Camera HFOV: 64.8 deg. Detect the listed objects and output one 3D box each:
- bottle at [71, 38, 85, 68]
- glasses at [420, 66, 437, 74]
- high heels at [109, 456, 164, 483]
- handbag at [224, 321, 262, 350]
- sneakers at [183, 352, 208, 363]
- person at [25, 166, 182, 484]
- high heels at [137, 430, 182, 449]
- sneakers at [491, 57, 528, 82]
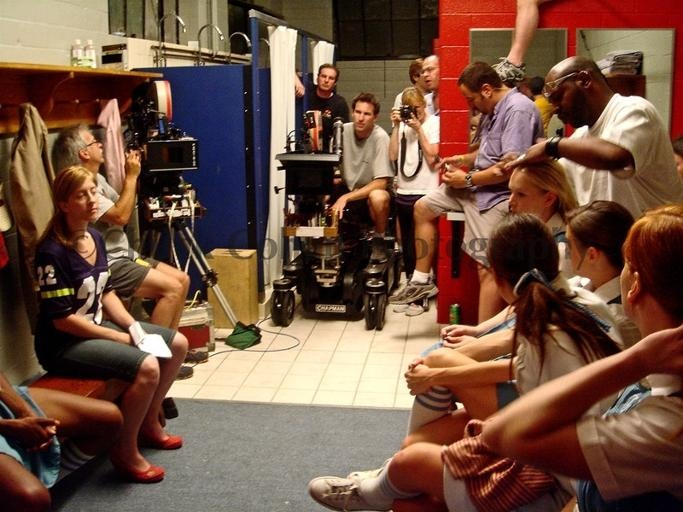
[{"bbox_3d":[-2.306,-1.783,4.693,0.124,0.252,0.336,-7,15,-23],"label":"bottle"},{"bbox_3d":[1.005,-2.125,6.151,0.090,0.052,0.123,0,4,23],"label":"glasses"},{"bbox_3d":[-1.160,1.211,3.058,0.299,0.118,0.117,0,2,4],"label":"high heels"},{"bbox_3d":[-0.882,0.714,4.865,0.290,0.149,0.326,5,15,22],"label":"handbag"},{"bbox_3d":[-1.214,0.852,4.516,0.139,0.047,0.086,1,8,-17],"label":"sneakers"},{"bbox_3d":[-1.331,0.378,3.188,0.876,1.667,0.742,8,9,18],"label":"person"},{"bbox_3d":[-1.097,1.137,3.315,0.281,0.093,0.104,2,2,1],"label":"high heels"},{"bbox_3d":[1.345,-1.485,4.312,0.474,0.203,0.207,-13,19,-41],"label":"sneakers"}]
